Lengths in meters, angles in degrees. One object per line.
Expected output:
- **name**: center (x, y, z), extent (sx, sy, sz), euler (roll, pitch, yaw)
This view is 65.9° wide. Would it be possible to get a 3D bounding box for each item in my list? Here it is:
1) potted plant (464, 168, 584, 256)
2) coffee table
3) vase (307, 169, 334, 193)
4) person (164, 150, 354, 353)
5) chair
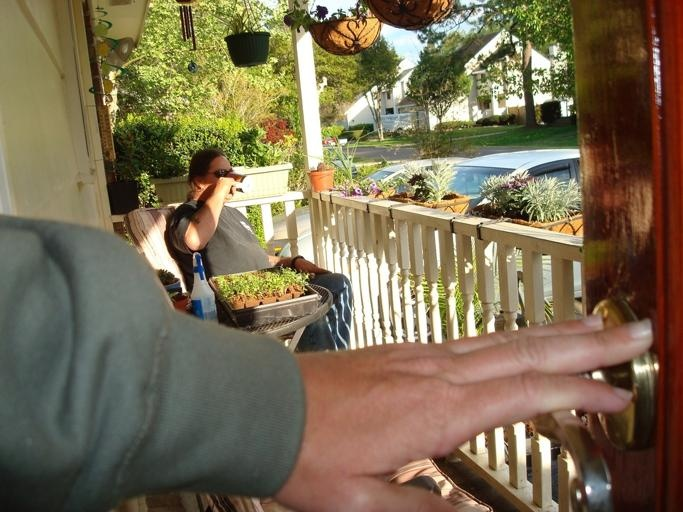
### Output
- **potted plant**: center (1.201, -0.334, 3.247), extent (0.753, 0.417, 0.801), euler (-14, 18, -17)
- **coffee table**: center (-0.345, 0.170, 2.158), extent (0.563, 0.296, 0.473), euler (-4, 11, -27)
- **vase**: center (-0.149, -0.530, 3.675), extent (0.152, 0.119, 0.163), euler (-1, 2, 17)
- **person**: center (-0.490, -0.080, 2.983), extent (0.943, 1.237, 0.837), euler (-1, 14, -35)
- **chair**: center (-1.236, -0.144, 3.512), extent (0.405, 0.741, 0.441), euler (-5, 14, -28)
